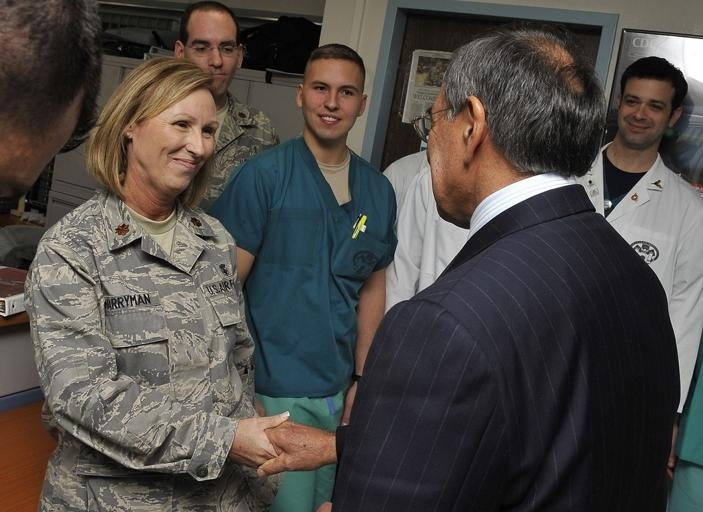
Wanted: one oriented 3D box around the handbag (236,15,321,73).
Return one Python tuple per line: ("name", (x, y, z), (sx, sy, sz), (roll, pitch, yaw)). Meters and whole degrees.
("handbag", (-0.556, -1.492, 4.067), (0.480, 0.610, 0.258), (19, 12, -4))
